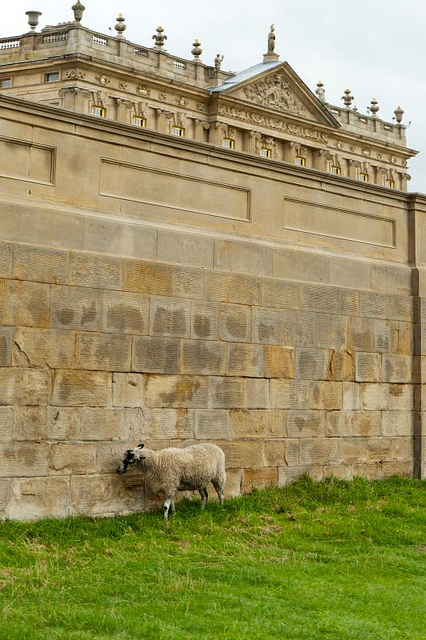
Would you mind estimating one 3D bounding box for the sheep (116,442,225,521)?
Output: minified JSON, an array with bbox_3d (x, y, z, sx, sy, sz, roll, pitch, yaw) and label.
[{"bbox_3d":[-0.479,1.921,12.151,1.423,0.877,0.441,0,-4,-29],"label":"sheep"}]
